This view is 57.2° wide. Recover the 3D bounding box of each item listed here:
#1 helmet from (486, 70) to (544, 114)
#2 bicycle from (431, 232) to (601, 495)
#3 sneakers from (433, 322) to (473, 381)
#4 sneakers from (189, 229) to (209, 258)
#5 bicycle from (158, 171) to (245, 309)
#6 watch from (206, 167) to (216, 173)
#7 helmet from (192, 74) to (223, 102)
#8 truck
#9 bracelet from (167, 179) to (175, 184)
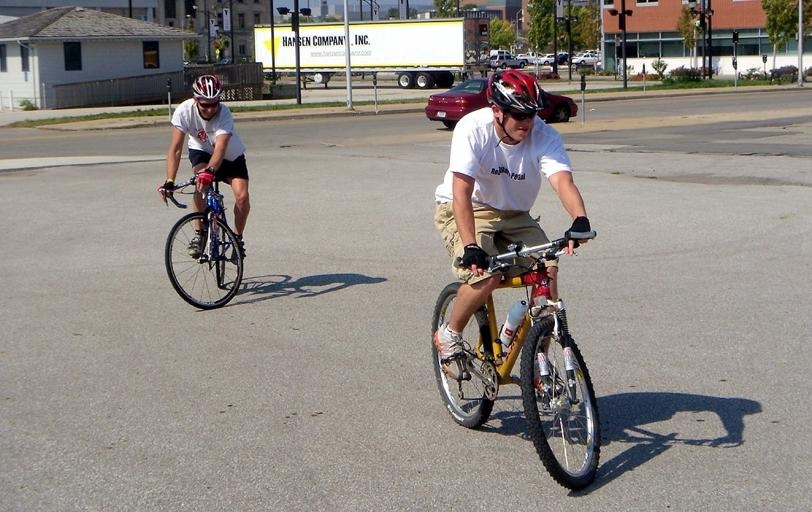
[{"bbox_3d":[0.824,-1.229,5.488,0.378,0.253,0.578,-14,25,-19],"label":"helmet"},{"bbox_3d":[0.964,0.659,6.041,0.904,1.263,1.963,-4,11,-24],"label":"bicycle"},{"bbox_3d":[0.353,0.733,5.949,0.174,0.247,0.525,-10,34,-12],"label":"sneakers"},{"bbox_3d":[-2.390,-0.135,8.664,0.126,0.426,0.204,9,6,3],"label":"sneakers"},{"bbox_3d":[-2.334,-0.257,8.660,0.959,1.547,0.823,-8,15,-26],"label":"bicycle"},{"bbox_3d":[-2.186,-0.964,8.374,0.108,0.078,0.106,-7,16,-17],"label":"watch"},{"bbox_3d":[-2.273,-1.917,8.544,0.313,0.283,0.368,-6,16,-17],"label":"helmet"},{"bbox_3d":[-3.001,-15.076,55.632,15.116,4.391,3.856,-2,15,-2],"label":"truck"},{"bbox_3d":[-2.682,-0.862,8.498,0.045,0.061,0.134,15,9,-2],"label":"bracelet"}]
